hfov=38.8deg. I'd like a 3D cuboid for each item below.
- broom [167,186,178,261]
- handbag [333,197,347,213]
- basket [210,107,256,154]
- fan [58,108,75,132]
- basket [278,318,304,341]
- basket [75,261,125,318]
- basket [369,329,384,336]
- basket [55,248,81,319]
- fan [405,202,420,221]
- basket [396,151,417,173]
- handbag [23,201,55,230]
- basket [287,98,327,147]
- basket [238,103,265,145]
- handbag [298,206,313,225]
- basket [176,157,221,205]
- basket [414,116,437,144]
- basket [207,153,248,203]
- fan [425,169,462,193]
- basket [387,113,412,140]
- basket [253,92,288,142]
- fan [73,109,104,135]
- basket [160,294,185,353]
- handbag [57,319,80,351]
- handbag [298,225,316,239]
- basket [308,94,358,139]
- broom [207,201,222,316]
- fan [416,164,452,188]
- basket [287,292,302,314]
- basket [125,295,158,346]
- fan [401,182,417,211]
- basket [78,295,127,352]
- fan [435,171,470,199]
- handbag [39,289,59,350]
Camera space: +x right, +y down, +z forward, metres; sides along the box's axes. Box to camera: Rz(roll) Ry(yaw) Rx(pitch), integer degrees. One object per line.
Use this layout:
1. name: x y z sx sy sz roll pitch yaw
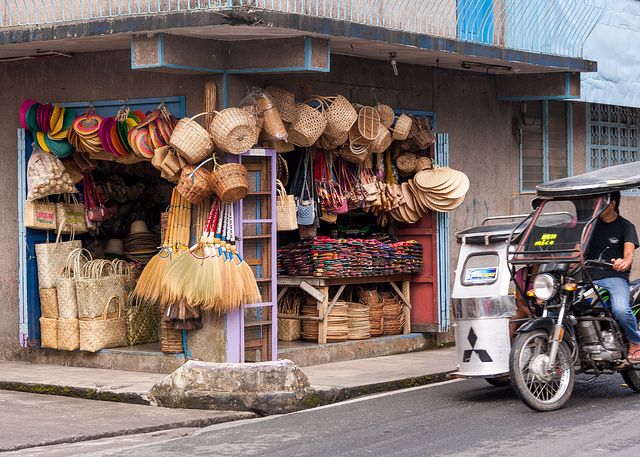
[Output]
1. broom: -1.905 -0.056 11.984 0.133 0.782 0.112 5 -8 -4
2. handbag: 0.304 -0.336 13.212 0.181 0.198 0.191 2 1 7
3. basket: -1.113 -1.249 11.599 0.585 0.582 0.309 -2 5 -7
4. fan: -3.500 -1.501 12.626 0.183 0.306 0.161 0 6 15
5. basket: -0.427 1.499 13.644 0.320 0.306 0.325 1 1 30
6. basket: -3.086 0.881 12.660 0.346 0.885 0.835 1 1 38
7. basket: 0.841 1.572 13.776 0.143 0.050 0.131 -3 -5 28
8. basket: -3.519 0.861 12.705 0.225 0.750 0.271 -4 11 -38
9. fan: 1.460 -0.275 14.095 0.060 0.243 0.257 -27 0 -13
10. basket: 1.342 -1.036 14.076 0.344 0.330 0.139 -4 6 -32
11. handbag: -3.973 -0.199 12.822 0.183 0.512 0.375 9 1 44
12. basket: -0.141 -1.454 12.430 0.465 0.612 0.461 9 10 26
13. basket: -0.837 -1.370 11.929 0.456 0.429 0.449 -6 43 -8
14. handbag: -0.215 -0.198 12.965 0.224 0.250 0.069 2 6 32
15. basket: -1.548 -0.646 11.647 0.411 0.443 0.333 27 19 -52
16. basket: 1.594 -1.473 14.035 0.302 0.387 0.398 -3 7 12
17. basket: -1.193 -0.657 11.589 0.364 0.458 0.354 -39 -45 7
18. fan: 1.920 -0.714 13.869 0.633 0.310 0.246 -5 7 -40
19. basket: 1.219 -1.496 13.546 0.224 0.360 0.321 33 13 14
20. basket: -0.716 -1.524 12.231 0.384 0.652 0.473 -27 14 -40
21. fan: -3.156 -1.409 12.318 0.430 0.258 0.281 0 5 5
22. basket: -1.962 1.263 12.162 0.338 0.793 0.298 -4 -8 5
23. handbag: -3.509 1.468 12.671 0.340 0.416 0.094 2 6 28
24. handbag: -0.181 0.040 13.186 0.221 0.194 0.186 -3 -3 23
25. basket: 0.198 -1.584 12.753 0.494 0.619 0.463 -2 11 -23
26. broom: -1.330 0.448 11.548 0.241 0.978 0.119 8 -16 -34
27. fan: 1.714 -0.803 13.887 0.364 0.127 0.364 9 40 22
28. basket: -0.428 1.119 13.772 0.154 0.259 0.046 6 1 34
29. basket: -2.522 1.285 12.960 0.423 0.700 0.385 3 7 14
30. fan: 1.351 -0.495 13.961 0.055 0.379 0.249 1 23 43
31. basket: -3.294 1.377 12.791 0.833 0.797 0.480 -5 6 -41
32. fan: 2.121 -0.617 13.881 0.388 0.390 0.106 21 -31 30
33. handbag: -3.830 1.278 12.838 0.227 0.714 0.562 3 -3 -33
